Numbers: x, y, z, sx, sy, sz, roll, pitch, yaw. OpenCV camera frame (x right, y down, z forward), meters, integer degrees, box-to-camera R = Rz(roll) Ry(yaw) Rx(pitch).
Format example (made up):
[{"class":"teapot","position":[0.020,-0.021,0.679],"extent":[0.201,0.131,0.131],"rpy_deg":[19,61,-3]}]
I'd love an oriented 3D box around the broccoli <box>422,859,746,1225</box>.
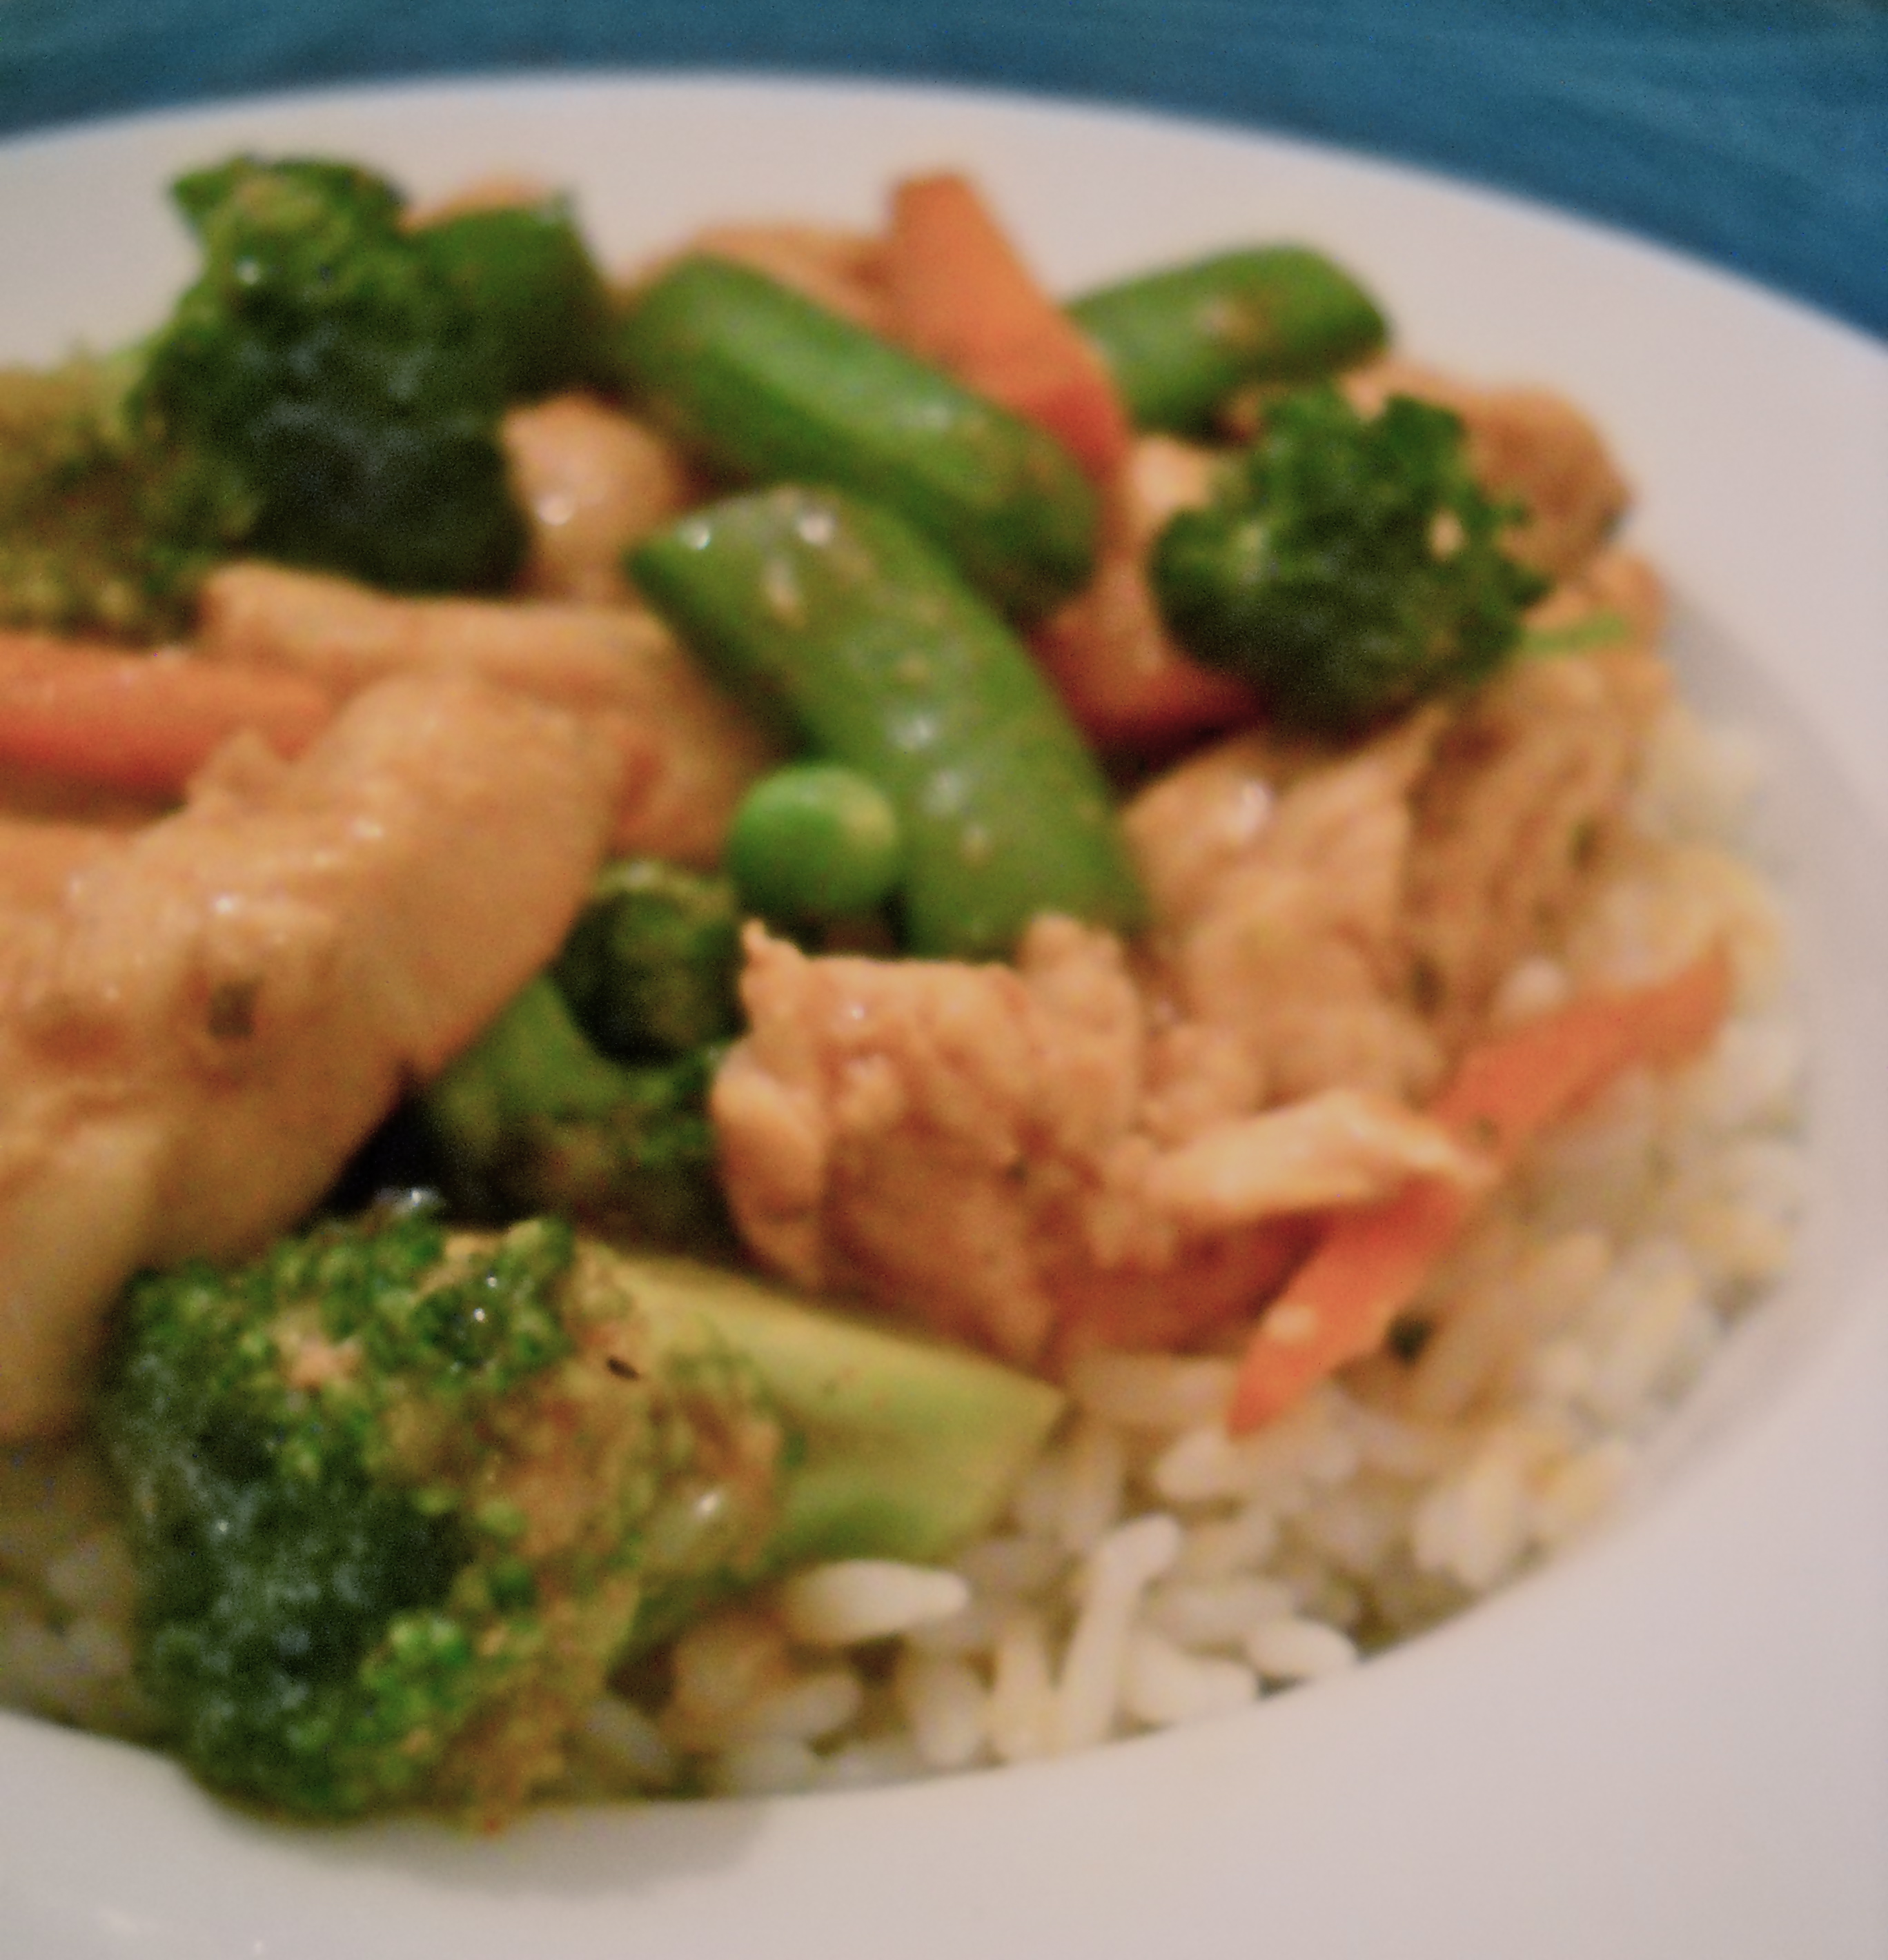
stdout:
[{"class":"broccoli","position":[-0.129,0.028,0.829],"extent":[0.106,0.114,0.092],"rpy_deg":[1,47,-9]}]
